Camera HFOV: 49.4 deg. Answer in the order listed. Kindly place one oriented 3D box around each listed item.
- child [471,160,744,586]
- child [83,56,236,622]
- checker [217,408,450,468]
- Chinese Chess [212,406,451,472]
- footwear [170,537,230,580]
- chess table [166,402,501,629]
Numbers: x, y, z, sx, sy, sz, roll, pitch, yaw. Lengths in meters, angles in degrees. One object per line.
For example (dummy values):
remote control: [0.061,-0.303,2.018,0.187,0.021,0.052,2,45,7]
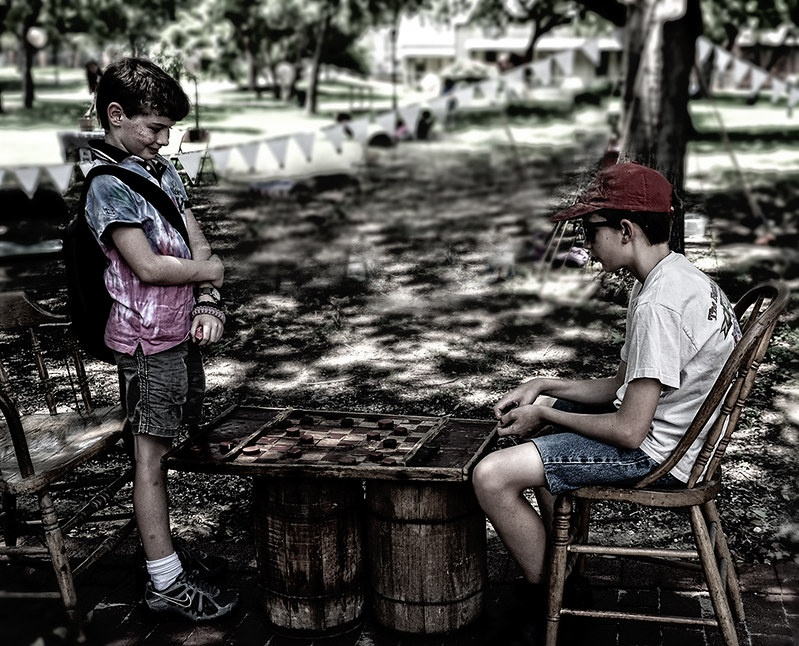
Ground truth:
child: [0.797,0.204,3.776,1.087,1.770,1.125,11,14,18]
child: [-1.083,0.069,3.999,0.838,2.207,0.763,1,3,10]
checker: [-0.253,0.420,3.875,0.863,0.163,0.770,-1,10,9]
Chinese Chess: [-0.278,0.430,3.790,0.859,0.177,0.779,0,11,8]
footwear: [-0.946,1.115,4.210,0.403,0.173,0.138,-4,20,42]
chess table: [-0.195,0.903,3.897,1.353,0.789,0.795,-2,6,16]
